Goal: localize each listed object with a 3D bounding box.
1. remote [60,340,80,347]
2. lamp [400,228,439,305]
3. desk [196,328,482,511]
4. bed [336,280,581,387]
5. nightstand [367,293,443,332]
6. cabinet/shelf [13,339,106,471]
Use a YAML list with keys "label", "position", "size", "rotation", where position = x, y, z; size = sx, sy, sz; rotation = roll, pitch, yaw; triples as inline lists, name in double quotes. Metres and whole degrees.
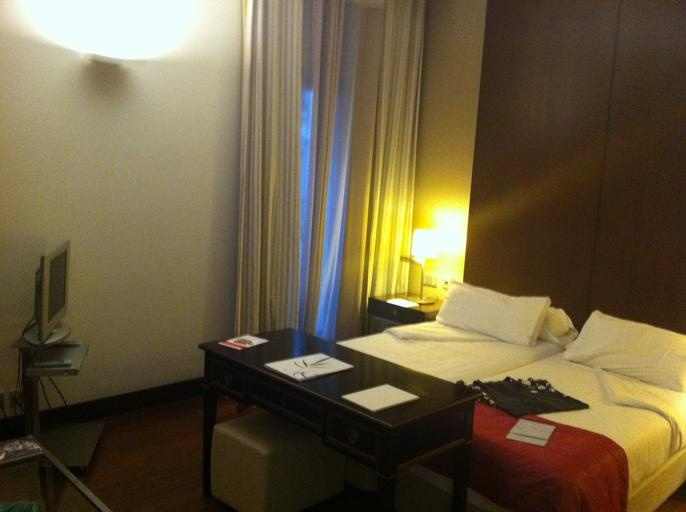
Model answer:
- label: "remote"
  position: [-1.637, 0.524, 3.304]
  size: [0.063, 0.017, 0.061]
  rotation: [-1, 7, -35]
- label: "lamp"
  position: [0.701, 0.103, 4.998]
  size: [0.387, 0.653, 0.288]
  rotation: [-1, 11, -22]
- label: "desk"
  position: [-0.062, 1.018, 2.947]
  size: [1.441, 0.915, 0.618]
  rotation: [11, 11, 35]
- label: "bed"
  position: [0.899, 0.596, 3.946]
  size: [1.007, 0.328, 0.807]
  rotation: [-6, 9, -38]
- label: "nightstand"
  position: [0.579, 0.571, 4.955]
  size: [0.609, 0.320, 0.419]
  rotation: [11, 12, 43]
- label: "cabinet/shelf"
  position: [-1.737, 0.912, 3.334]
  size: [0.424, 0.654, 0.570]
  rotation: [-5, 20, -27]
